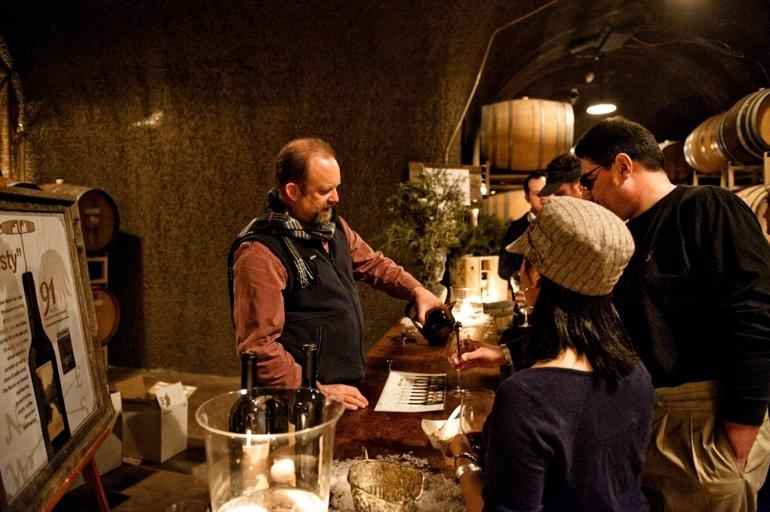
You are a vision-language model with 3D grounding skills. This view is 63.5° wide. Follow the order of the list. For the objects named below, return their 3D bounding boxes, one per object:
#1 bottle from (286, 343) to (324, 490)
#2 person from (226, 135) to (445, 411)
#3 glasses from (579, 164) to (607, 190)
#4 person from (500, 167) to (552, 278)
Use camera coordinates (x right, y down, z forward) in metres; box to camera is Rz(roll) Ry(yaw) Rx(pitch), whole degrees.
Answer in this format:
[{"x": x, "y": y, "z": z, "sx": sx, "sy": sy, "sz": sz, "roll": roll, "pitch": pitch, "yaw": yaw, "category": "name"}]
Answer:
[{"x": -0.351, "y": 0.694, "z": 2.792, "sx": 0.163, "sy": 0.565, "sz": 0.355, "roll": -1, "pitch": 9, "yaw": -9, "category": "bottle"}, {"x": -0.361, "y": 0.025, "z": 3.854, "sx": 1.145, "sy": 1.489, "sz": 0.812, "roll": -7, "pitch": 12, "yaw": -41, "category": "person"}, {"x": 1.237, "y": -0.469, "z": 3.702, "sx": 0.037, "sy": 0.119, "sz": 0.116, "roll": 50, "pitch": 2, "yaw": 28, "category": "glasses"}, {"x": 1.235, "y": -0.295, "z": 5.635, "sx": 0.295, "sy": 0.987, "sz": 0.610, "roll": 21, "pitch": 5, "yaw": -9, "category": "person"}]
